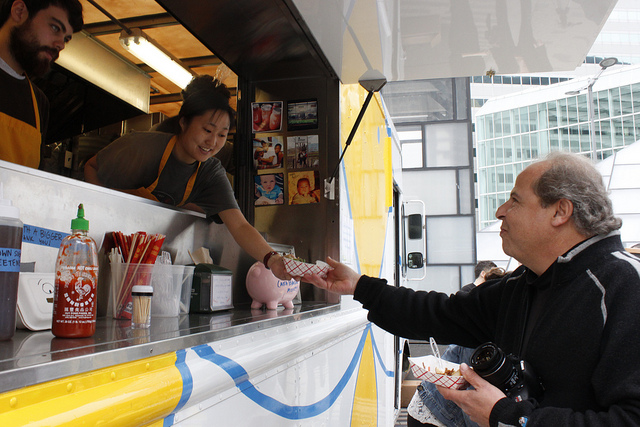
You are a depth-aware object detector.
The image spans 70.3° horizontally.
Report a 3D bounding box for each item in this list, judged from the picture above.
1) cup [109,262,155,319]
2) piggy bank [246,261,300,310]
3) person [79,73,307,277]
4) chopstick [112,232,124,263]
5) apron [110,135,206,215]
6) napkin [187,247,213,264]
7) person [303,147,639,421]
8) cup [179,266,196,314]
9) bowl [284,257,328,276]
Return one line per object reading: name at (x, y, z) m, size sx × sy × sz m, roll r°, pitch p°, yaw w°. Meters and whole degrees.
cup at (-0.690, 0.279, 1.678) m, size 0.114 × 0.204 × 0.106 m, roll -1°, pitch -5°, yaw 0°
piggy bank at (-0.235, 0.343, 2.268) m, size 0.173 × 0.286 × 0.279 m, roll -2°, pitch -8°, yaw 18°
person at (-0.699, -0.234, 2.474) m, size 1.114 × 1.126 × 0.407 m, roll -2°, pitch -5°, yaw 10°
chopstick at (-0.788, 0.116, 1.763) m, size 0.022 × 0.149 × 0.020 m, roll -16°, pitch -3°, yaw -4°
apron at (-0.826, -0.216, 2.463) m, size 0.427 × 0.458 × 0.149 m, roll -1°, pitch -5°, yaw -4°
napkin at (-0.584, 0.202, 2.194) m, size 0.056 × 0.051 × 0.093 m, roll 13°, pitch 22°, yaw -37°
person at (0.516, 0.351, 2.251) m, size 1.508 × 1.076 × 1.134 m, roll 1°, pitch -4°, yaw 12°
cup at (-0.548, 0.311, 1.878) m, size 0.046 × 0.190 × 0.106 m, roll -2°, pitch -5°, yaw 6°
bowl at (-0.064, 0.252, 2.149) m, size 0.136 × 0.060 × 0.114 m, roll 9°, pitch 7°, yaw -14°
